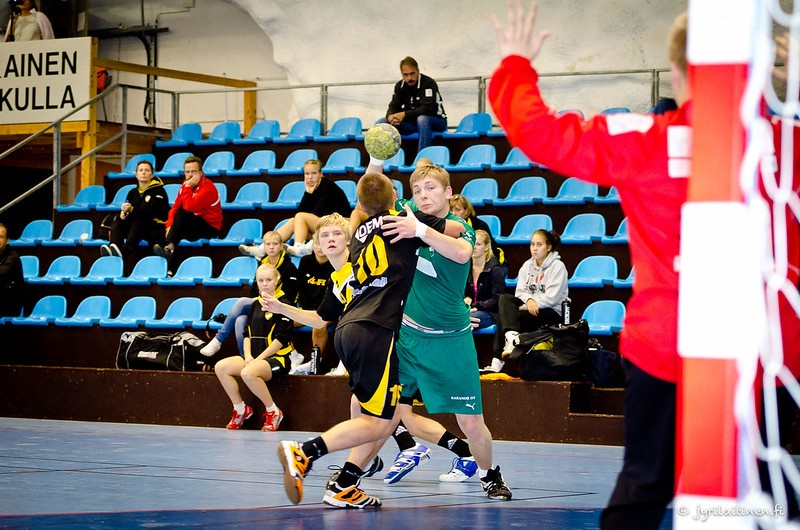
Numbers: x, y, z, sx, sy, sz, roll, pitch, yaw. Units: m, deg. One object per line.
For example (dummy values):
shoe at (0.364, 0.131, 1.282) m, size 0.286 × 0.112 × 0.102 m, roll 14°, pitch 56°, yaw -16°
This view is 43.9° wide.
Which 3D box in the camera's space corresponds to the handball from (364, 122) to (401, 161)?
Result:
handball at (-0.143, -0.999, 8.055) m, size 0.247 × 0.308 × 0.268 m, roll 1°, pitch 2°, yaw 7°

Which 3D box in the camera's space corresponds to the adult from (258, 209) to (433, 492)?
adult at (-0.430, 0.594, 6.847) m, size 1.160 × 1.896 × 0.785 m, roll -5°, pitch -3°, yaw 26°

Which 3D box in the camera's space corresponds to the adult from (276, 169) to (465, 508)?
adult at (-0.199, 0.448, 6.025) m, size 1.044 × 2.029 × 0.506 m, roll 1°, pitch 2°, yaw -4°

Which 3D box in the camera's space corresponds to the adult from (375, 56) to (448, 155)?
adult at (0.061, -1.949, 12.849) m, size 0.934 × 1.338 × 1.043 m, roll 3°, pitch 4°, yaw 18°

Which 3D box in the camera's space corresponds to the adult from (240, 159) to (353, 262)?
adult at (-1.057, -0.616, 10.886) m, size 1.419 × 1.060 × 0.699 m, roll -5°, pitch 3°, yaw -28°

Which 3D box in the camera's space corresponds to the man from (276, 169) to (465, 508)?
man at (-0.201, 0.448, 6.031) m, size 1.056 × 2.029 × 0.476 m, roll 1°, pitch 3°, yaw -7°

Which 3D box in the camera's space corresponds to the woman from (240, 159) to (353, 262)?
woman at (-1.038, -0.619, 10.897) m, size 1.393 × 1.055 × 0.708 m, roll -5°, pitch 2°, yaw -32°

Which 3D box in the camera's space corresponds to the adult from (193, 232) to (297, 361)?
adult at (-1.532, 0.339, 9.889) m, size 1.130 × 1.252 × 0.550 m, roll -15°, pitch 18°, yaw -29°
